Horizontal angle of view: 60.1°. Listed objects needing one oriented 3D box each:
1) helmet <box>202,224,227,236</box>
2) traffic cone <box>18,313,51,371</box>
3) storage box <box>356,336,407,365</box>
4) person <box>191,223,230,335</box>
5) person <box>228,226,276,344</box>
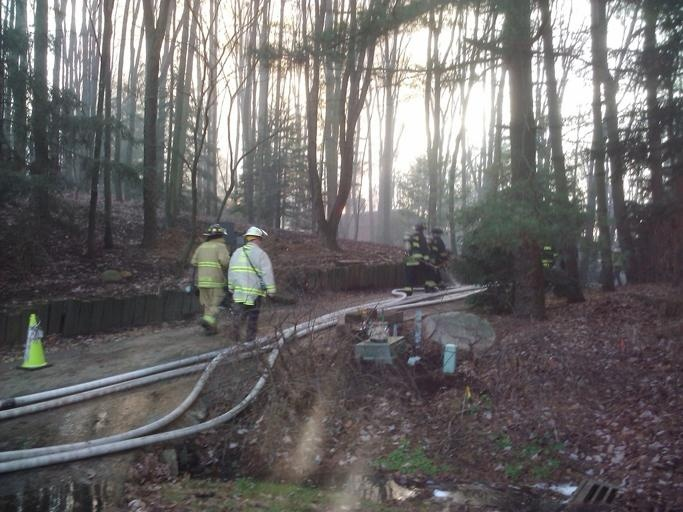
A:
[{"bbox_3d":[-2.914,-0.586,13.662,0.346,0.219,0.358,0,1,-35],"label":"helmet"},{"bbox_3d":[-6.283,1.698,12.155,0.492,1.107,1.238,0,1,-28],"label":"traffic cone"},{"bbox_3d":[0.715,1.874,11.626,0.612,0.272,0.506,-2,3,26],"label":"storage box"},{"bbox_3d":[-2.900,0.544,13.333,0.787,2.453,0.531,0,1,-13],"label":"person"},{"bbox_3d":[-1.868,0.536,12.336,0.954,2.248,0.637,1,1,-4],"label":"person"}]
